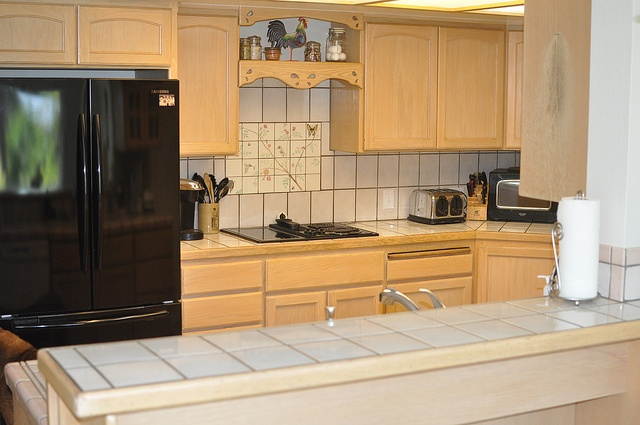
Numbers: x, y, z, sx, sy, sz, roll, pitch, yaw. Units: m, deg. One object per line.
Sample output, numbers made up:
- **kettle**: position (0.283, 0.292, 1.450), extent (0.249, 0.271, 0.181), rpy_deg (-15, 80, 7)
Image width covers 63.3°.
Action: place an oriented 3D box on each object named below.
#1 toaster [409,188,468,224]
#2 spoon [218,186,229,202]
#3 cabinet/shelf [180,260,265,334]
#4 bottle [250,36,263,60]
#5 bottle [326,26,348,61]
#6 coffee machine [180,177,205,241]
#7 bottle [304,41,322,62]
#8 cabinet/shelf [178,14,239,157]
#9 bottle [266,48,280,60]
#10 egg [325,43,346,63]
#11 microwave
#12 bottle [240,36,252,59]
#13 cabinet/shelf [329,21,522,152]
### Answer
- **toaster**: position (1.006, -0.053, 4.454), extent (0.367, 0.235, 0.373), rpy_deg (-3, 8, -23)
- **spoon**: position (-0.747, -0.136, 3.968), extent (0.028, 0.113, 0.070), rpy_deg (21, -17, 45)
- **cabinet/shelf**: position (-0.668, 0.457, 3.625), extent (0.691, 0.612, 0.433), rpy_deg (0, -2, -24)
- **bottle**: position (-0.483, -1.218, 3.870), extent (0.103, 0.168, 0.184), rpy_deg (0, 15, -8)
- **bottle**: position (0.088, -1.315, 4.048), extent (0.160, 0.216, 0.163), rpy_deg (5, 22, -2)
- **coffee machine**: position (-0.916, -0.029, 3.732), extent (0.159, 0.413, 0.317), rpy_deg (-1, 15, -12)
- **bottle**: position (-0.053, -1.222, 3.981), extent (0.161, 0.165, 0.154), rpy_deg (-2, 7, -14)
- **cabinet/shelf**: position (-0.779, -0.880, 3.649), extent (0.407, 0.945, 0.227), rpy_deg (-1, 16, -10)
- **bottle**: position (-0.355, -1.173, 3.869), extent (0.108, 0.070, 0.092), rpy_deg (0, 1, -7)
- **egg**: position (0.125, -1.213, 3.984), extent (0.146, 0.138, 0.140), rpy_deg (0, 4, -1)
- **microwave**: position (1.656, -0.099, 4.439), extent (0.793, 0.532, 0.475), rpy_deg (1, 0, 12)
- **bottle**: position (-0.546, -1.190, 3.792), extent (0.082, 0.153, 0.088), rpy_deg (2, 15, -1)
- **cabinet/shelf**: position (0.825, -1.029, 4.452), extent (1.671, 0.960, 0.527), rpy_deg (-11, 16, -32)
